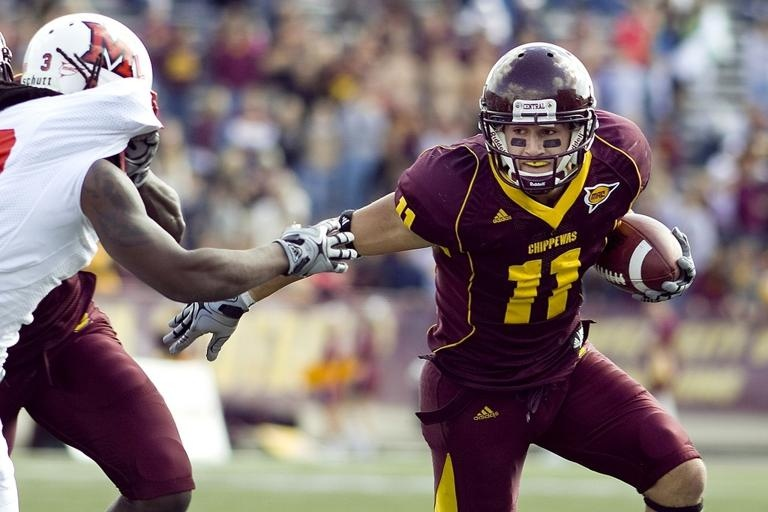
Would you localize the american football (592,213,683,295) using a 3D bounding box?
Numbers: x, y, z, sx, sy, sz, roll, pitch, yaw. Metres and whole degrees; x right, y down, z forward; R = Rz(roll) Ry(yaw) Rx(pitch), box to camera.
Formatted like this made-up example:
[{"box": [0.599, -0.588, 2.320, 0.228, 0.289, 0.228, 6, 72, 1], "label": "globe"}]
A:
[{"box": [1.184, 0.020, 4.323, 0.311, 0.306, 0.386, -1, 38, -49], "label": "american football"}]

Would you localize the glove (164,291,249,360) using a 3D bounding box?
[{"box": [-0.712, 0.294, 4.189, 0.277, 0.143, 0.432, 5, 26, 28], "label": "glove"}]

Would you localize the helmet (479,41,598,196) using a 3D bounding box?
[{"box": [0.676, -0.595, 4.055, 0.506, 0.617, 0.373, 5, 14, 11], "label": "helmet"}]

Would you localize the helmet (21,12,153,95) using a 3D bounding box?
[{"box": [-1.275, -0.804, 4.002, 0.509, 0.399, 0.364, 4, 1, -27], "label": "helmet"}]
